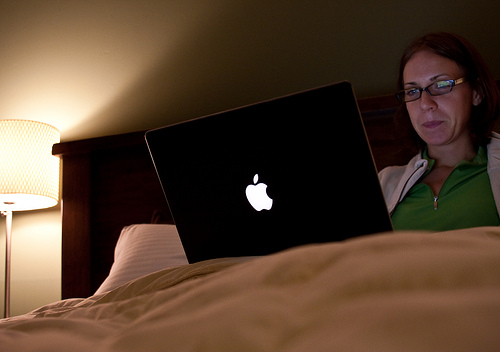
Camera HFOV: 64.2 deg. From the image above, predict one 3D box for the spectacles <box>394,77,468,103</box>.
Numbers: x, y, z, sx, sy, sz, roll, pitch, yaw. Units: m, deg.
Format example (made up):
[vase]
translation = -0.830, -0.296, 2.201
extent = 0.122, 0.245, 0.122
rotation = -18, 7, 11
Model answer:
[spectacles]
translation = 0.682, -0.317, 1.457
extent = 0.217, 0.089, 0.056
rotation = -12, -4, 24
